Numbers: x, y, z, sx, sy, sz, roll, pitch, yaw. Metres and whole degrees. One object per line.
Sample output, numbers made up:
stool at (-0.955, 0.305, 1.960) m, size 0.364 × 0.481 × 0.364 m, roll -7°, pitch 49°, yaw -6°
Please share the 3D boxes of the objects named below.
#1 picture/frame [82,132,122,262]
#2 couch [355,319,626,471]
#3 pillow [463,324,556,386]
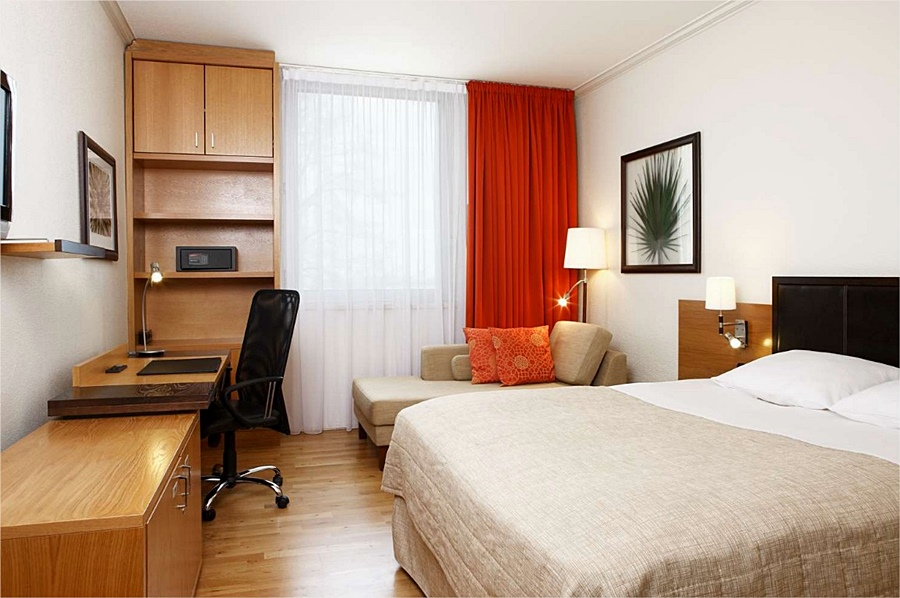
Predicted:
picture/frame at (-2.380, -0.625, 4.105) m, size 0.046 × 0.858 × 1.008 m, roll 0°, pitch 8°, yaw -20°
couch at (0.268, 0.745, 4.953) m, size 1.854 × 0.949 × 1.073 m, roll 1°, pitch -4°, yaw -13°
pillow at (0.514, 0.483, 4.931) m, size 0.552 × 0.520 × 0.177 m, roll -9°, pitch -14°, yaw -15°
